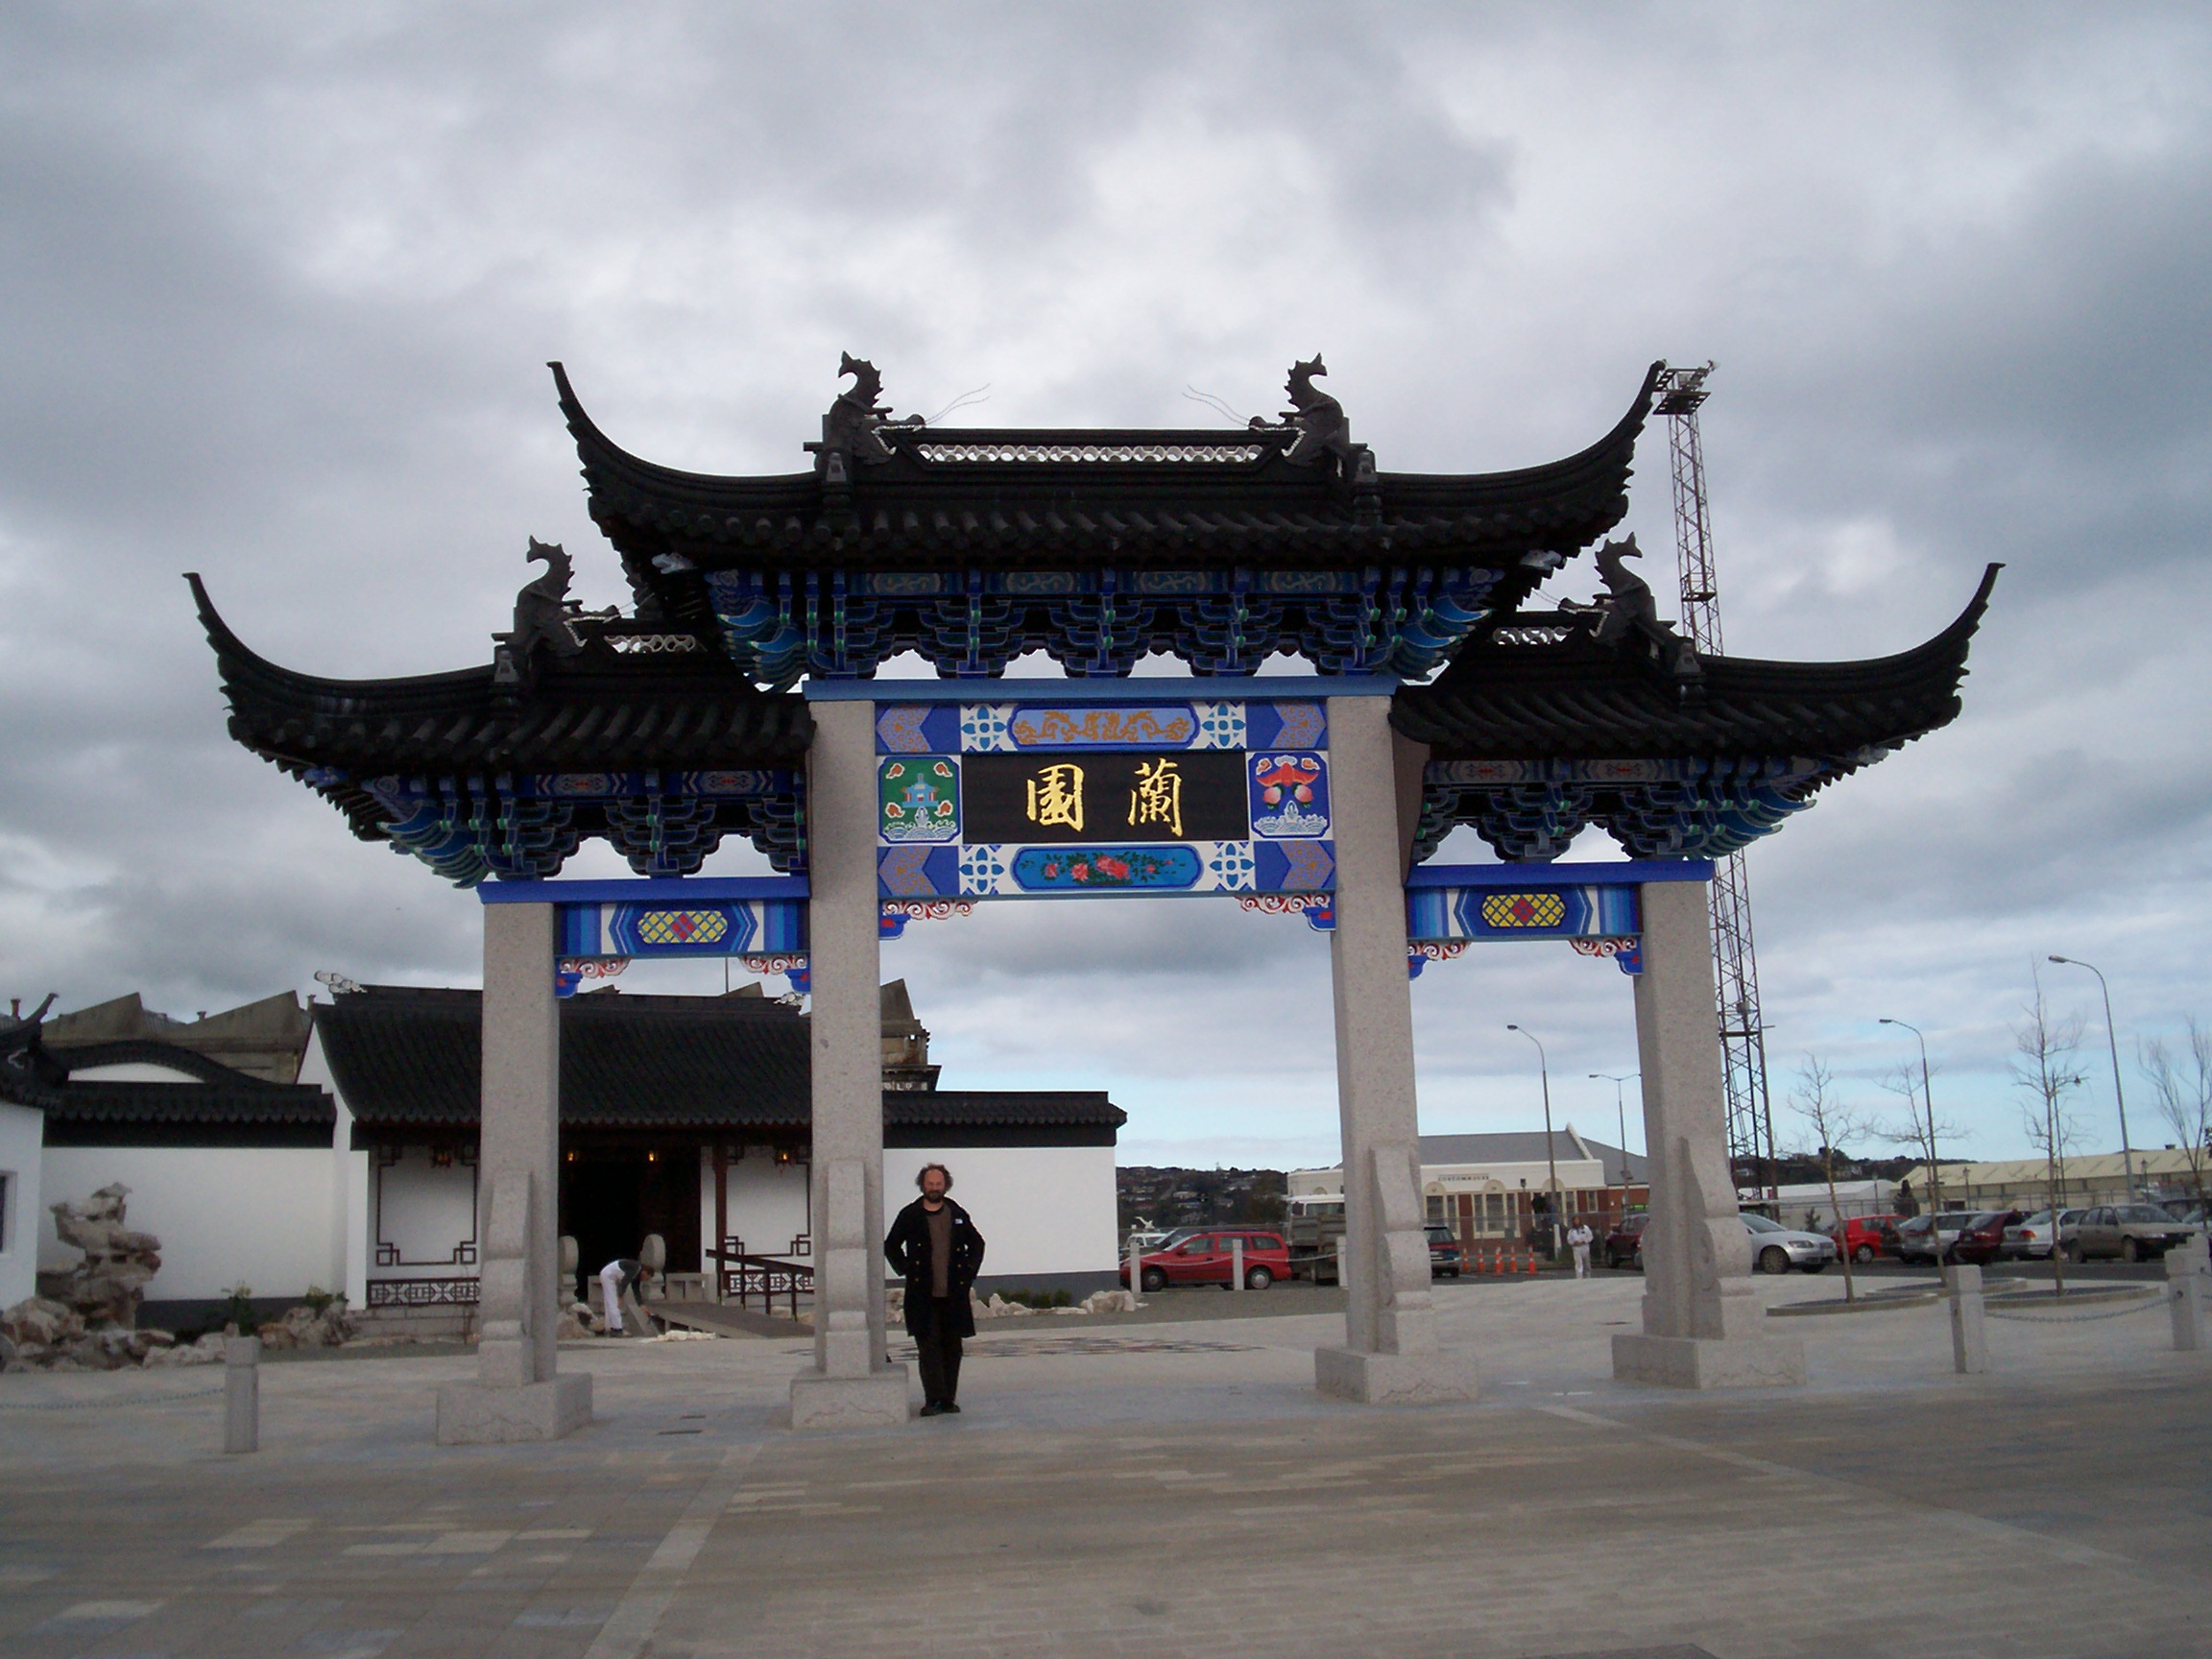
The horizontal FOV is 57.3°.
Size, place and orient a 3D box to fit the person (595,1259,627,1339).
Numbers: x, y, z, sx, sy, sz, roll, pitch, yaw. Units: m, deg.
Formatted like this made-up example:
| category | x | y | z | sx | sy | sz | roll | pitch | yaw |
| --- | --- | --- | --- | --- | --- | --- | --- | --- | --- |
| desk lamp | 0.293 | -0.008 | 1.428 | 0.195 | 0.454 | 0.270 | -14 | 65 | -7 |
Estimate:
| category | x | y | z | sx | sy | sz | roll | pitch | yaw |
| --- | --- | --- | --- | --- | --- | --- | --- | --- | --- |
| person | -7.181 | 6.757 | 29.293 | 0.399 | 1.003 | 1.413 | 0 | -12 | -14 |

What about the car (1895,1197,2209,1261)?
| category | x | y | z | sx | sy | sz | roll | pitch | yaw |
| --- | --- | --- | --- | --- | --- | --- | --- | --- | --- |
| car | 18.736 | 7.973 | 40.361 | 3.602 | 1.100 | 7.833 | -2 | -11 | -2 |

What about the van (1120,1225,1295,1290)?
| category | x | y | z | sx | sy | sz | roll | pitch | yaw |
| --- | --- | --- | --- | --- | --- | --- | --- | --- | --- |
| van | 2.411 | 9.132 | 43.347 | 3.000 | 0.898 | 1.342 | 3 | -11 | -9 |

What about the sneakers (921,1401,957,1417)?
| category | x | y | z | sx | sy | sz | roll | pitch | yaw |
| --- | --- | --- | --- | --- | --- | --- | --- | --- | --- |
| sneakers | -1.316 | 4.510 | 15.839 | 0.287 | 0.079 | 0.261 | -1 | -11 | -5 |
